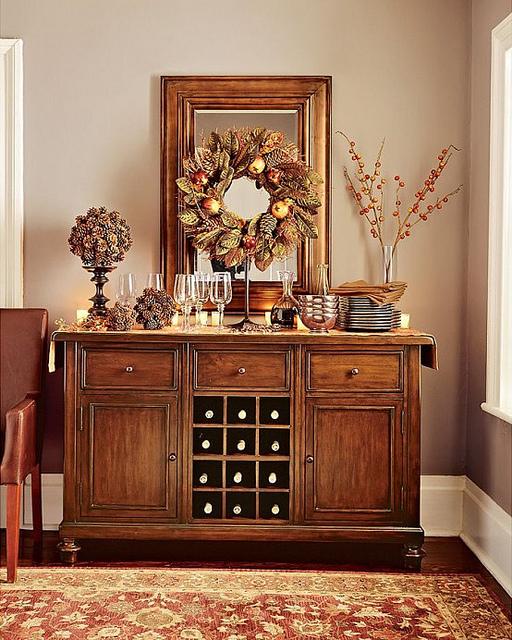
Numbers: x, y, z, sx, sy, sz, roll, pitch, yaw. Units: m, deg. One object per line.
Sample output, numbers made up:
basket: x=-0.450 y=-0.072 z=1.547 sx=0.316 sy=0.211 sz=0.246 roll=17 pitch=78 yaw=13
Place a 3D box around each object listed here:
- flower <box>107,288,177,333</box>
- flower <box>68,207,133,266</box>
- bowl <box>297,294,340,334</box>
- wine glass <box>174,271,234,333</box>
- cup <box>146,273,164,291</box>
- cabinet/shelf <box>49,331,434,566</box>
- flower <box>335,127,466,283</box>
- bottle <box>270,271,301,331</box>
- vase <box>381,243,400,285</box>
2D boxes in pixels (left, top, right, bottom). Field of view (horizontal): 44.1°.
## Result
flower: x=-0.471 y=-0.036 z=2.569 sx=0.132 sy=0.163 sz=0.226 roll=-28 pitch=25 yaw=-34
flower: x=-0.673 y=-0.351 z=2.705 sx=0.222 sy=0.250 sz=0.165 roll=1 pitch=3 yaw=15
bowl: x=0.259 y=-0.026 z=2.507 sx=0.147 sy=0.121 sz=0.152 roll=0 pitch=-2 yaw=0
wine glass: x=-0.205 y=-0.062 z=2.688 sx=0.313 sy=0.282 sz=0.241 roll=0 pitch=0 yaw=5
cup: x=-0.429 y=-0.163 z=2.716 sx=0.081 sy=0.071 sz=0.078 roll=2 pitch=1 yaw=0
cabinet/shelf: x=0.062 y=0.574 z=2.687 sx=1.798 sy=1.044 sz=0.581 roll=3 pitch=-11 yaw=-8
flower: x=0.684 y=-0.562 z=2.907 sx=0.741 sy=0.838 sz=0.148 roll=2 pitch=9 yaw=3
bottle: x=0.126 y=-0.083 z=2.711 sx=0.121 sy=0.241 sz=0.246 roll=1 pitch=3 yaw=2
vase: x=0.600 y=-0.250 z=2.835 sx=0.058 sy=0.166 sz=0.087 roll=1 pitch=3 yaw=7
